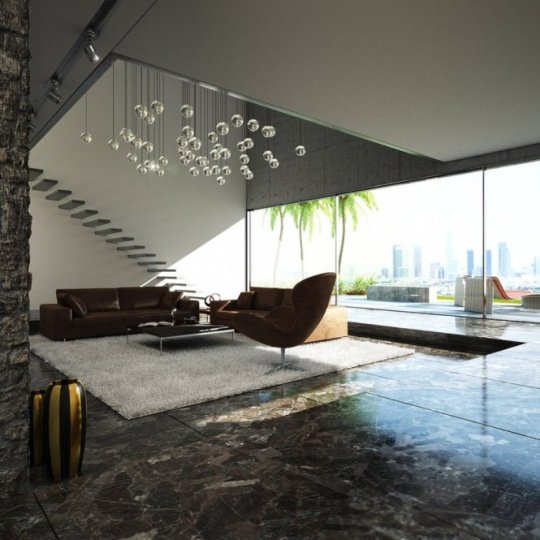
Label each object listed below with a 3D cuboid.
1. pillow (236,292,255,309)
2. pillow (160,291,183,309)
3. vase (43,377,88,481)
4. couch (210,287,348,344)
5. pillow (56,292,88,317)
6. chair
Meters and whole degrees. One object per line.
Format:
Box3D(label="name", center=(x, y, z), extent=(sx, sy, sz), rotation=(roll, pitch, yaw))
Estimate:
Box3D(label="pillow", center=(-0.389, 0.500, 6.904), extent=(0.272, 0.253, 0.113), rotation=(7, -21, 2))
Box3D(label="pillow", center=(-1.682, 0.497, 7.261), extent=(0.320, 0.301, 0.095), rotation=(4, -25, 35))
Box3D(label="vase", center=(-1.028, 0.814, 2.118), extent=(0.187, 0.468, 0.140), rotation=(2, -2, -26))
Box3D(label="couch", center=(0.083, 0.507, 4.652), extent=(1.171, 0.748, 1.261), rotation=(6, 3, 37))
Box3D(label="pillow", center=(-2.919, 0.501, 6.261), extent=(0.342, 0.344, 0.667), rotation=(2, -3, -29))
Box3D(label="chair", center=(0.164, 0.510, 4.231), extent=(0.510, 0.961, 0.917), rotation=(3, -3, -44))
